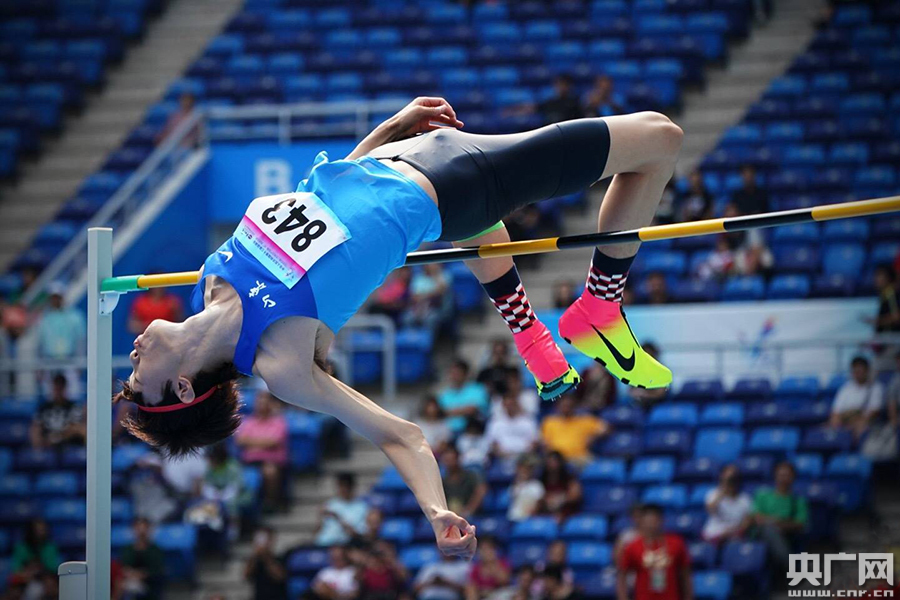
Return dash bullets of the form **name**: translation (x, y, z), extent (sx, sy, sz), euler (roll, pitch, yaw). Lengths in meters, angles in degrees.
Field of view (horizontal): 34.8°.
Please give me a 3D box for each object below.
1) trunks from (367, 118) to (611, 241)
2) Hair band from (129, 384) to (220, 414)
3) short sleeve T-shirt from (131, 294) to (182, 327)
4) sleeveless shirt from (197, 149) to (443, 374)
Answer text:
- **trunks**: translation (0.496, -1.043, 11.250), extent (1.215, 0.487, 1.162), euler (-15, -1, -13)
- **Hair band**: translation (-2.123, 0.818, 11.208), extent (0.409, 0.091, 0.297), euler (-21, 9, -18)
- **short sleeve T-shirt**: translation (-3.243, 0.124, 15.821), extent (0.394, 0.349, 0.211), euler (0, -2, 0)
- **sleeveless shirt**: translation (-0.959, -0.136, 11.704), extent (1.882, 1.486, 0.746), euler (-44, -23, -5)
